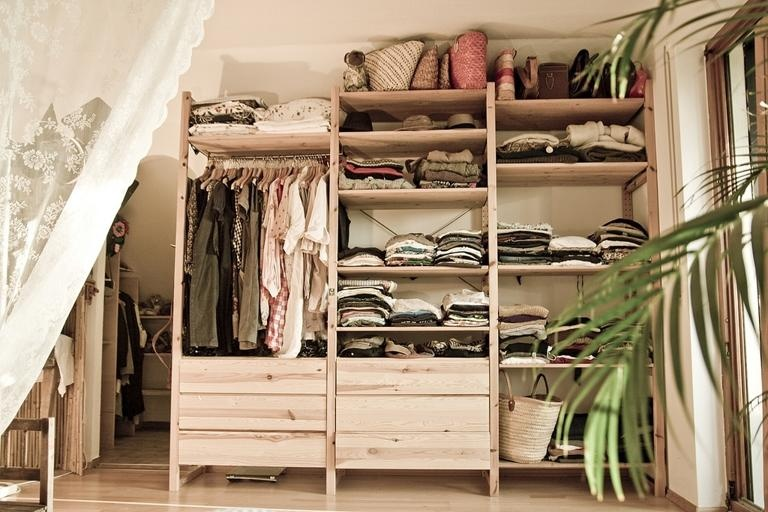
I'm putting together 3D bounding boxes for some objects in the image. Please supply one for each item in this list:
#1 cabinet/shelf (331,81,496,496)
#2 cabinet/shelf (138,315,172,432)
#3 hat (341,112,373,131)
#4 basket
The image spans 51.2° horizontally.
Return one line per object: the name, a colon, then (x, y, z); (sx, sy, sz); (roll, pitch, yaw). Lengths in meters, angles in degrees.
cabinet/shelf: (0.189, 0.174, 5.219); (1.080, 2.557, 0.800); (0, 5, 3)
cabinet/shelf: (-1.910, 0.981, 6.700); (0.294, 0.931, 0.504); (-2, 5, -15)
hat: (-0.174, -0.880, 5.294); (0.189, 0.110, 0.144); (1, -9, -6)
basket: (0.906, 1.085, 5.040); (0.377, 0.406, 0.177); (1, 5, 12)
